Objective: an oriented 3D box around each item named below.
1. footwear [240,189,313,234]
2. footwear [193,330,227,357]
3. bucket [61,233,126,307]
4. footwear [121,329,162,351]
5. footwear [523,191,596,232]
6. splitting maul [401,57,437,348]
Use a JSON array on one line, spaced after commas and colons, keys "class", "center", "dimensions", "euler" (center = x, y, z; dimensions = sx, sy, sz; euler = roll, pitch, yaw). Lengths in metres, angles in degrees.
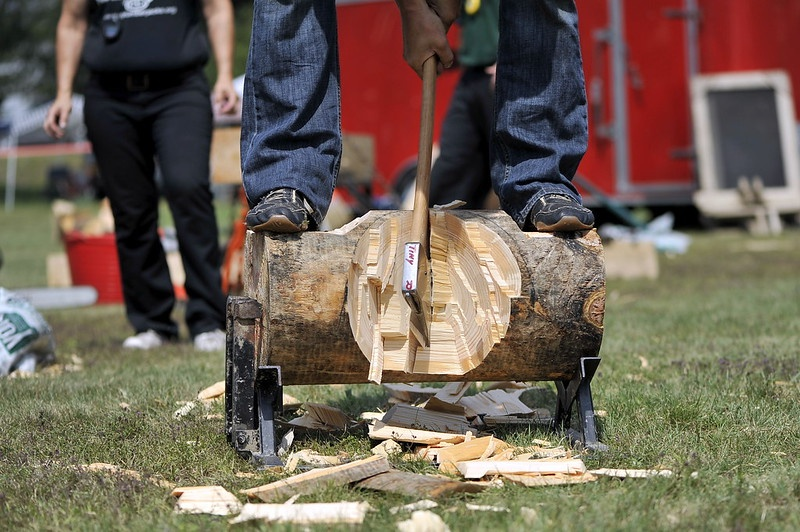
[{"class": "footwear", "center": [-0.681, -0.316, 8.275], "dimensions": [0.400, 0.260, 0.203], "euler": [-2, 3, -5]}, {"class": "footwear", "center": [-1.319, 0.543, 10.031], "dimensions": [0.223, 0.169, 0.068], "euler": [-9, -40, 5]}, {"class": "bucket", "center": [-2.497, -0.017, 11.863], "dimensions": [0.636, 0.524, 0.629], "euler": [0, 5, 0]}, {"class": "footwear", "center": [-1.787, 0.522, 10.065], "dimensions": [0.231, 0.107, 0.121], "euler": [7, -1, -29]}, {"class": "footwear", "center": [0.923, -0.312, 8.287], "dimensions": [0.192, 0.161, 0.345], "euler": [1, -2, -27]}, {"class": "splitting maul", "center": [0.102, -0.366, 8.229], "dimensions": [0.152, 1.662, 0.409], "euler": [-1, 3, 23]}]
